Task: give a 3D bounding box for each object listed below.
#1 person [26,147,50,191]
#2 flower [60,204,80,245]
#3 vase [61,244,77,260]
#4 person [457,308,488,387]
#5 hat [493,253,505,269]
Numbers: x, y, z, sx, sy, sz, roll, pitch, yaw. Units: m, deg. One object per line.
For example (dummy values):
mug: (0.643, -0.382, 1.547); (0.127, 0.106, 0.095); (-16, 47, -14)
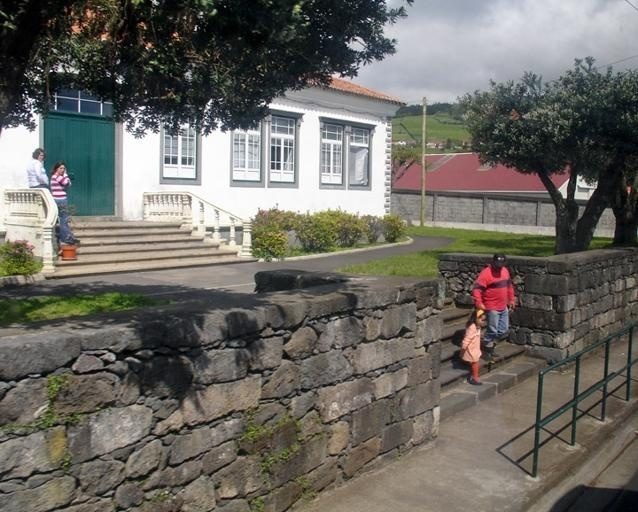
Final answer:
person: (-7.391, -2.280, 14.279); (0.421, 1.048, 0.706); (-2, 13, -43)
flower: (-6.663, -0.837, 14.406); (0.773, 1.101, 0.484); (14, 12, 40)
vase: (-6.483, -0.069, 14.118); (0.355, 0.381, 0.347); (0, 2, 43)
person: (2.615, 1.530, 9.162); (0.363, 1.252, 0.454); (6, 9, 0)
hat: (3.189, 0.098, 9.541); (0.173, 0.147, 0.254); (3, 21, 7)
